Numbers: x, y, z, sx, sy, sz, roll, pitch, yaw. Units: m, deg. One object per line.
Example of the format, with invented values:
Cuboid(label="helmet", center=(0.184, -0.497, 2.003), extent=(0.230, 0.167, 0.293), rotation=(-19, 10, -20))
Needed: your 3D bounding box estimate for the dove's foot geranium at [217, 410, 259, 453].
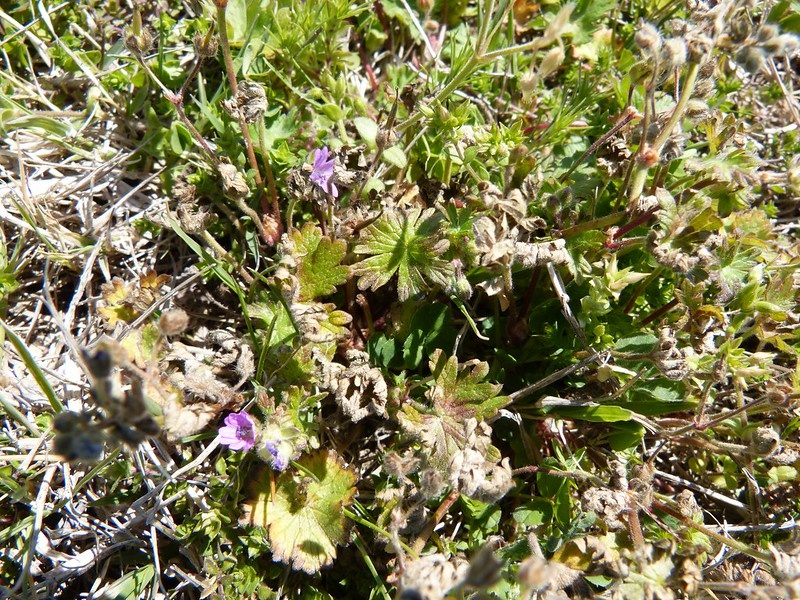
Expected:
Cuboid(label="dove's foot geranium", center=(-0.634, 0.514, 2.762), extent=(0.142, 0.073, 0.145), rotation=(28, 81, 2))
